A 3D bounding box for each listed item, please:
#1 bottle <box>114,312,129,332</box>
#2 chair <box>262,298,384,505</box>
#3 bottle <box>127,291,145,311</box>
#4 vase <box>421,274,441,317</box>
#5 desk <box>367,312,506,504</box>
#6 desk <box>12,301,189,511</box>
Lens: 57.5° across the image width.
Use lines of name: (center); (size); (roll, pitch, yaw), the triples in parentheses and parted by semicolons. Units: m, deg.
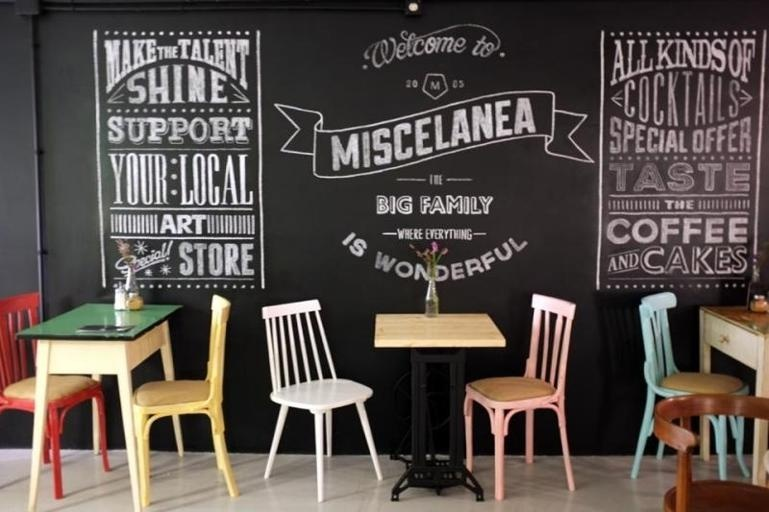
bottle: (-1.969, 0.492, 5.248); (0.087, 0.024, 0.521); (-4, 7, -17)
chair: (-0.563, 1.071, 5.466); (1.047, 1.421, 0.754); (3, 5, 37)
bottle: (-1.968, 0.365, 5.608); (0.130, 0.180, 0.128); (0, 9, 0)
vase: (0.378, 0.305, 5.561); (0.122, 0.333, 0.247); (0, 3, 4)
desk: (0.382, 0.995, 5.735); (1.160, 1.421, 1.544); (-1, 4, -1)
desk: (-2.111, 1.117, 5.345); (0.896, 1.405, 0.872); (0, 4, 2)
